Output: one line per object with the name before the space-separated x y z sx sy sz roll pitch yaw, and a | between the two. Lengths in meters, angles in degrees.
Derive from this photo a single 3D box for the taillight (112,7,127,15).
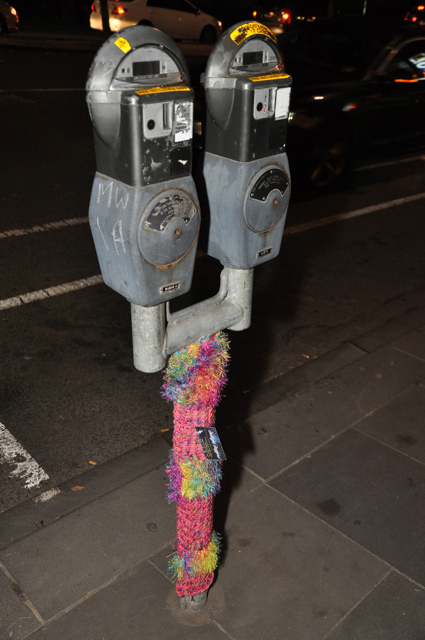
taillight | -2.513 -8.271 15.065 0.238 0.050 0.212 1 3 5

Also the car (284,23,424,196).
car | 1.859 -2.919 7.721 1.262 2.057 2.943 21 34 32

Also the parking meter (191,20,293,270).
parking meter | 0.102 -0.532 1.800 0.264 0.749 0.303 26 38 37

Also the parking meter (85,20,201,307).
parking meter | -0.170 -0.367 1.483 0.312 0.720 0.295 -9 31 -16
